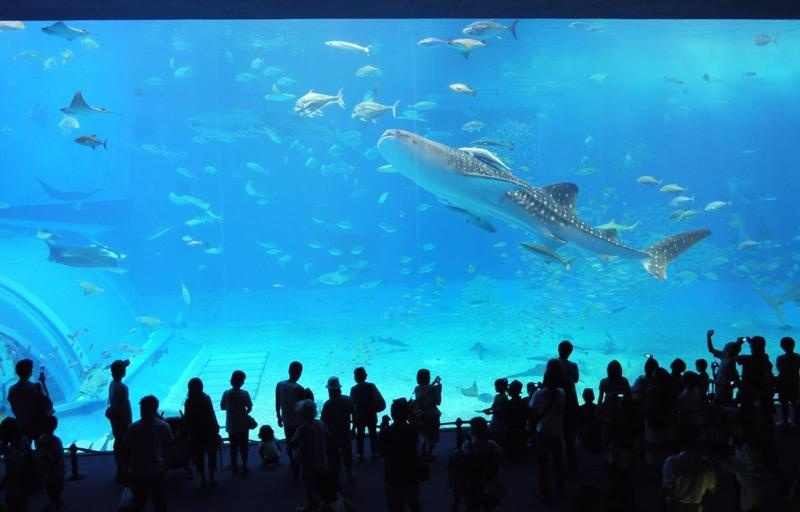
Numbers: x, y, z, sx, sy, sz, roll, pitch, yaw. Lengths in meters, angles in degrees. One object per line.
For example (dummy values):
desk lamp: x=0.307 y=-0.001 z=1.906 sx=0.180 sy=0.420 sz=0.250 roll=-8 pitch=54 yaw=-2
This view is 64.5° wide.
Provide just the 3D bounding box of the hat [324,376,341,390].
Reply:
hat: x=-3.864 y=7.100 z=35.834 sx=0.732 sy=0.385 sz=0.831 roll=2 pitch=-4 yaw=-36

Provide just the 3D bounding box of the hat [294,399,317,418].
hat: x=-5.239 y=8.213 z=35.323 sx=1.127 sy=0.679 sz=0.523 roll=6 pitch=-30 yaw=-28
